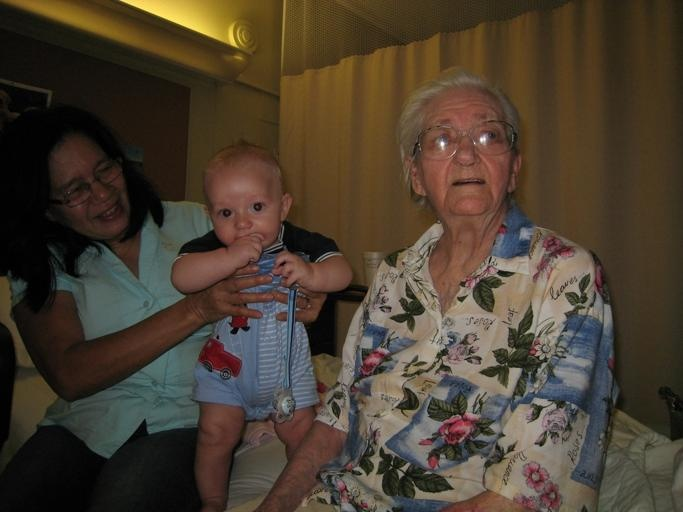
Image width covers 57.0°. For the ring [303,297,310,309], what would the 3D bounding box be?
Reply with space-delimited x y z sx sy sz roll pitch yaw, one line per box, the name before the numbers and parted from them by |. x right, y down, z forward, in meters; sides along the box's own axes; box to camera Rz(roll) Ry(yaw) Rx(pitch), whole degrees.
ring | -0.163 0.210 2.797 0.042 0.045 0.032 -1 -26 -10
